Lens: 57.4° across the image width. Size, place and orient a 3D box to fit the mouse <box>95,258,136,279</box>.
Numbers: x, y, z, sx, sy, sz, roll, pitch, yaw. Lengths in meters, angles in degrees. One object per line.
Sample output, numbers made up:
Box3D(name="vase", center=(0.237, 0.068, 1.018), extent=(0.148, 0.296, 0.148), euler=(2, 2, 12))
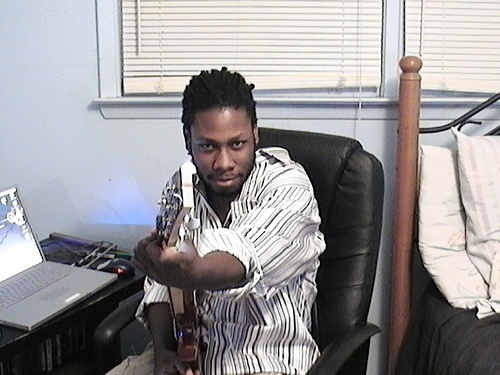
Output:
Box3D(name="mouse", center=(-0.528, 0.291, 1.807), extent=(0.152, 0.065, 0.090), euler=(7, 5, 15))

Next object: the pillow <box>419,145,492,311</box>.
Box3D(name="pillow", center=(0.756, 0.163, 1.758), extent=(0.408, 0.444, 0.118), euler=(21, -28, -41))
